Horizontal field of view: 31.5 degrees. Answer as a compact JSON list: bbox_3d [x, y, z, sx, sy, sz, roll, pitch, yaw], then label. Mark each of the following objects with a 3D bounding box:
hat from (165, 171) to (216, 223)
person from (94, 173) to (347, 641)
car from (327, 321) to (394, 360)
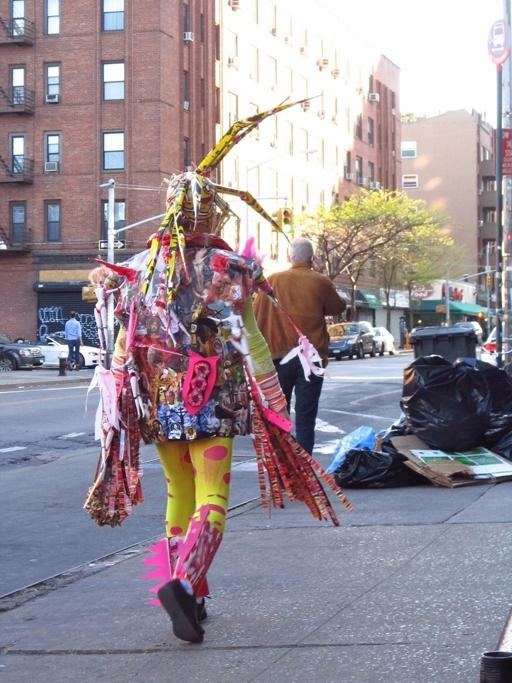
[{"bbox_3d":[-0.221,-0.527,3.343,0.171,0.178,0.213,-2,-14,-1],"label":"hat"},{"bbox_3d":[-0.151,0.219,3.404,0.838,1.725,0.830,-2,2,-30],"label":"person"},{"bbox_3d":[4.485,-0.025,40.041,1.719,1.348,4.906,-4,-5,18],"label":"car"}]
